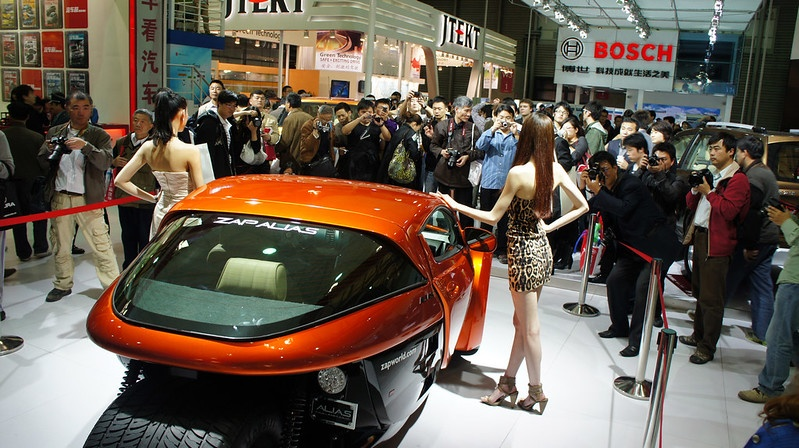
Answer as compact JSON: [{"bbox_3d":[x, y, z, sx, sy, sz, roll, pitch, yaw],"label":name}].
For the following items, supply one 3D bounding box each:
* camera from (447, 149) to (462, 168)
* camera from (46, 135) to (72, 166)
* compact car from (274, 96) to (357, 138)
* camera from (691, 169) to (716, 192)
[{"bbox_3d":[0.966,-1.152,8.034,0.275,0.276,0.121,3,-8,6],"label":"camera"},{"bbox_3d":[-4.336,-0.958,5.761,0.323,0.205,0.330,5,53,1],"label":"camera"},{"bbox_3d":[-2.116,-2.565,11.379,2.028,0.930,1.190,4,17,0],"label":"compact car"},{"bbox_3d":[3.934,-0.560,5.833,0.283,0.258,0.272,1,0,-45],"label":"camera"}]
